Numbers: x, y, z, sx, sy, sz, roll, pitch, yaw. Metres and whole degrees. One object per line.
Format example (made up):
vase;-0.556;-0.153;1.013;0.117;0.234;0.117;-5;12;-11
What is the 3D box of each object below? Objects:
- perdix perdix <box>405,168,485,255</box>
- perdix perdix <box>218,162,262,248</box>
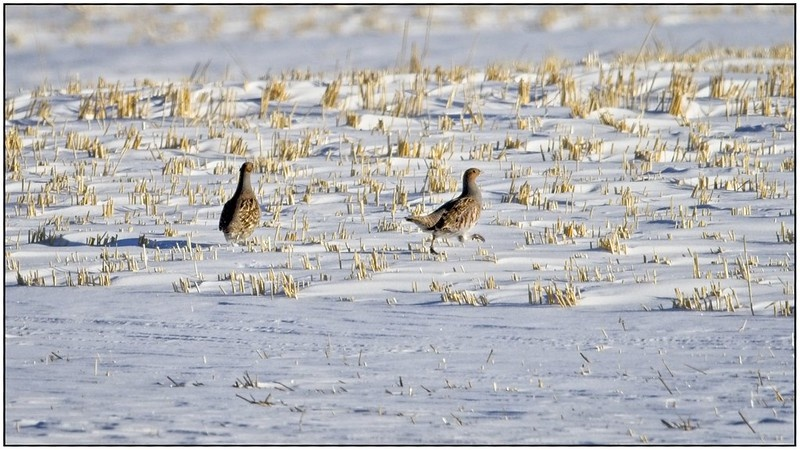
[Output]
perdix perdix;0.938;-0.231;19.711;1.359;1.383;0.641;0;1;-18
perdix perdix;-2.729;-0.338;20.109;0.626;1.368;0.765;-5;0;27
